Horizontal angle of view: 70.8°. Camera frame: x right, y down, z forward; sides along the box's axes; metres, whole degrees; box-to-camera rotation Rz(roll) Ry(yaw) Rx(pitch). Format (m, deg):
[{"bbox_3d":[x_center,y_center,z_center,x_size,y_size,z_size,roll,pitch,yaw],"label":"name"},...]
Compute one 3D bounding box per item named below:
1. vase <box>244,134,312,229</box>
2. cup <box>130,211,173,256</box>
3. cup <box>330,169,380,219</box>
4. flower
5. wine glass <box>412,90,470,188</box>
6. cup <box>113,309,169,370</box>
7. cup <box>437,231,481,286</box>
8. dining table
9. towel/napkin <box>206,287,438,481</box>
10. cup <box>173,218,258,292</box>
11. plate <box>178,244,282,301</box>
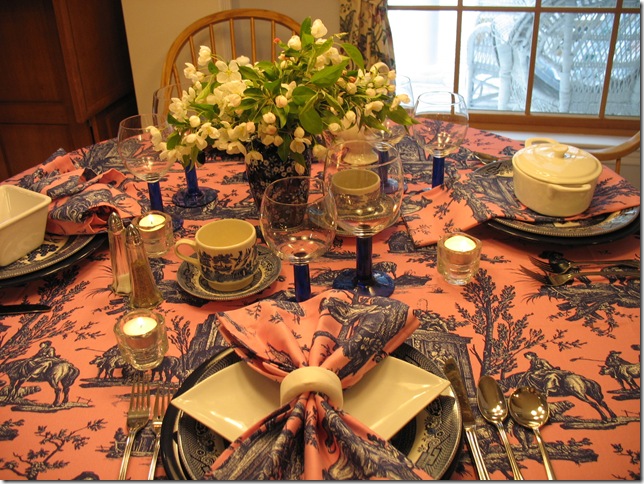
[{"bbox_3d":[-0.090,-0.136,0.950,0.139,0.163,0.141,-12,33,-16],"label":"vase"},{"bbox_3d":[-0.416,-0.021,1.109,0.083,0.089,0.083,5,37,-4],"label":"cup"},{"bbox_3d":[0.073,-0.093,0.958,0.097,0.071,0.099,-4,33,3],"label":"cup"},{"bbox_3d":[-0.156,-0.246,1.154,0.516,0.233,0.653,-2,-11,-41],"label":"flower"},{"bbox_3d":[0.325,-0.248,1.268,0.134,0.299,0.132,-23,30,-28],"label":"wine glass"},{"bbox_3d":[-0.320,0.173,0.808,0.088,0.100,0.092,0,32,0],"label":"cup"},{"bbox_3d":[0.286,0.038,1.007,0.097,0.097,0.100,-4,38,3],"label":"cup"},{"bbox_3d":[0.196,0.080,0.958,0.842,0.208,0.841,2,33,3],"label":"dining table"},{"bbox_3d":[-0.019,0.200,0.678,0.246,0.063,0.246,1,26,5],"label":"towel/napkin"},{"bbox_3d":[-0.208,0.026,0.955,0.181,0.127,0.133,-1,32,-2],"label":"cup"},{"bbox_3d":[-0.210,0.039,0.984,0.237,0.030,0.235,9,23,-31],"label":"plate"}]
